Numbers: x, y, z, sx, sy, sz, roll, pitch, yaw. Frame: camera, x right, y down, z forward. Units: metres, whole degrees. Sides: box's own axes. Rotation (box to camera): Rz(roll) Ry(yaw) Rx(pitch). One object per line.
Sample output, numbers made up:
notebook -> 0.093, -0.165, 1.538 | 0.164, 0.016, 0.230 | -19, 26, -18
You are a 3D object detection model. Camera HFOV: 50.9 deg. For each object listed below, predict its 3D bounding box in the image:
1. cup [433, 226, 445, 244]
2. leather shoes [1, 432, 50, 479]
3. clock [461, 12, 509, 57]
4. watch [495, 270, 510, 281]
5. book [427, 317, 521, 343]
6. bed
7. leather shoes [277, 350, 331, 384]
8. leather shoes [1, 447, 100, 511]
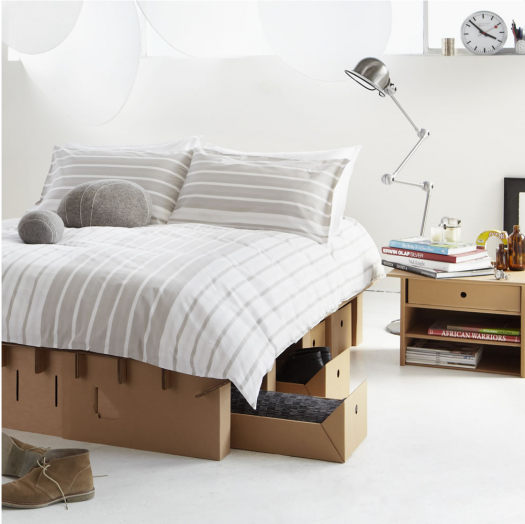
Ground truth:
cup -> 0.790, -0.118, 2.477 | 0.059, 0.079, 0.065 | 0, 6, 2
leather shoes -> -0.643, 0.519, 1.463 | 0.184, 0.086, 0.074 | 5, 10, -1
clock -> 1.408, -1.452, 3.499 | 0.259, 0.316, 0.026 | 1, -13, 12
watch -> 1.030, 0.060, 2.367 | 0.061, 0.050, 0.048 | 2, 4, 7
book -> 0.947, 0.299, 2.463 | 0.371, 0.061, 0.243 | 4, 8, 26
bed -> -0.127, 0.156, 2.149 | 1.208, 0.733, 1.299 | 4, 9, 21
leather shoes -> 0.152, 0.390, 2.040 | 0.169, 0.070, 0.105 | -16, -3, 42
leather shoes -> -0.528, 0.550, 1.418 | 0.240, 0.136, 0.106 | 1, 3, -18
